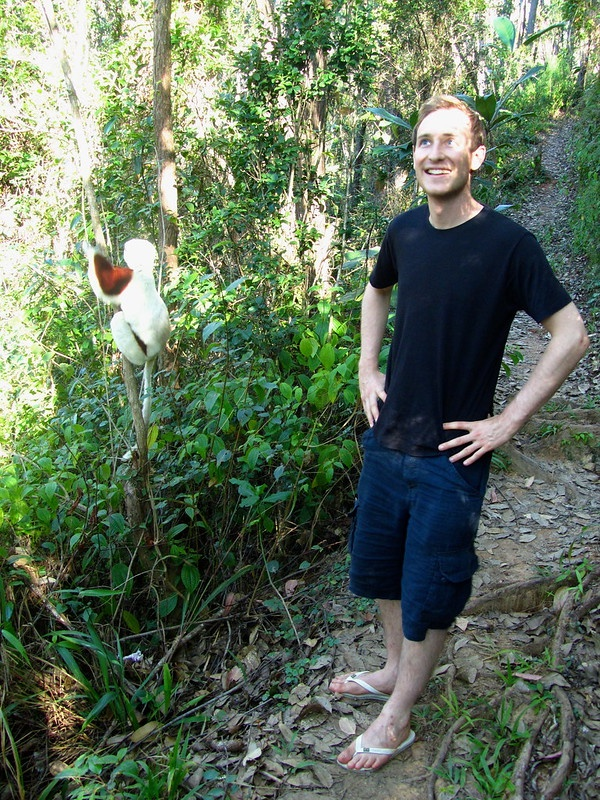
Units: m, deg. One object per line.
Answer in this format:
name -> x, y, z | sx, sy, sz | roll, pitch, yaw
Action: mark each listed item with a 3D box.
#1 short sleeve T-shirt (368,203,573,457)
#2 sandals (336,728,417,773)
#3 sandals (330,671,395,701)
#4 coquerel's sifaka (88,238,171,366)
short sleeve T-shirt -> 0.443, -0.197, 1.963 | 0.268, 0.737, 0.551 | -11, 25, -37
sandals -> 0.242, 1.104, 2.091 | 0.244, 0.047, 0.110 | -2, -1, -19
sandals -> 0.226, 1.021, 2.359 | 0.212, 0.049, 0.084 | 2, 20, 33
coquerel's sifaka -> -0.446, -0.263, 1.731 | 0.160, 0.389, 0.206 | -7, 2, 1
